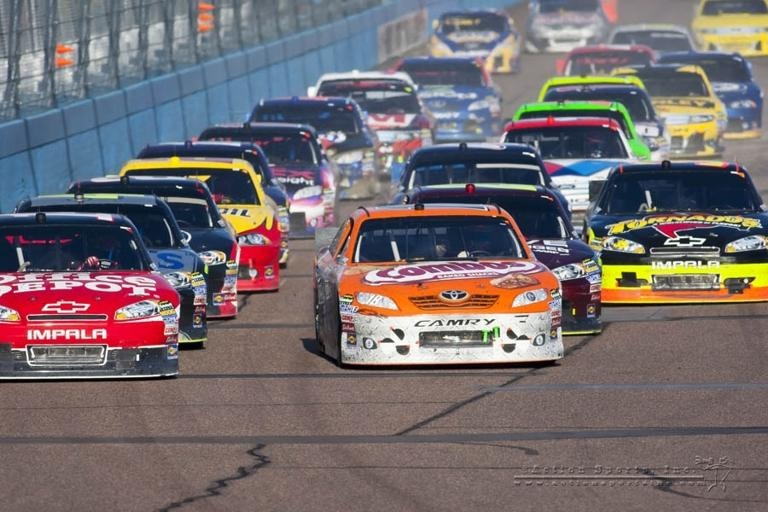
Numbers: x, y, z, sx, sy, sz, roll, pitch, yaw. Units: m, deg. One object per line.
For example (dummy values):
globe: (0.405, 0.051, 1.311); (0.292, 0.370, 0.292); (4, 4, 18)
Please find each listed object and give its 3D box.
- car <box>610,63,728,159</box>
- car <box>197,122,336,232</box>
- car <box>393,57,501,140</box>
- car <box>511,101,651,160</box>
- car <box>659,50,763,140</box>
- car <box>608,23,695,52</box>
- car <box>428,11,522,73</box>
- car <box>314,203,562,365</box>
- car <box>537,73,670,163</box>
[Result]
car: (5.850, -3.339, 30.000); (1.846, 0.943, 3.134); (-1, 31, 11)
car: (-1.882, -1.657, 24.455); (2.552, 1.172, 3.099); (-1, 30, -11)
car: (1.507, -3.023, 31.580); (2.117, 0.973, 2.870); (-2, 2, 6)
car: (3.109, -1.995, 23.920); (1.883, 0.888, 2.521); (0, -2, 6)
car: (6.673, -3.292, 30.781); (3.099, 1.550, 5.724); (0, 6, 10)
car: (7.342, -5.843, 40.456); (2.171, 0.643, 1.152); (2, 11, 25)
car: (2.514, -6.447, 41.998); (2.707, 1.003, 3.412); (0, 32, 1)
car: (0.463, -0.061, 16.548); (2.498, 1.027, 3.435); (-3, 22, -10)
car: (4.107, -2.763, 27.327); (1.891, 0.922, 2.494); (0, 1, 5)
